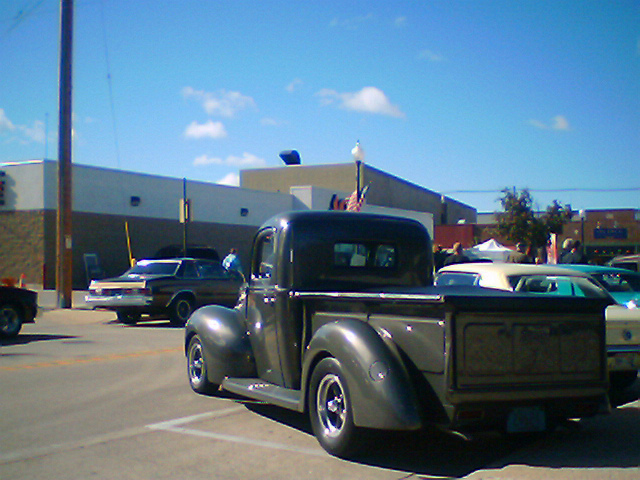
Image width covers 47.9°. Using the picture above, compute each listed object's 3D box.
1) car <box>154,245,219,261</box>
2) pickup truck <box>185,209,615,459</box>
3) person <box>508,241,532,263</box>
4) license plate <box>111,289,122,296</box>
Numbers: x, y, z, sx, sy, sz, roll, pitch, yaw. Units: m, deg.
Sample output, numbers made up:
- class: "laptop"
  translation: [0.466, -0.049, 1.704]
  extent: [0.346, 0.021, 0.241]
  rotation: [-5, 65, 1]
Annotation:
- class: "car"
  translation: [-4.702, 0.453, 25.627]
  extent: [1.659, 0.915, 0.998]
  rotation: [-1, -2, 12]
- class: "pickup truck"
  translation: [0.641, 1.042, 8.428]
  extent: [2.474, 2.139, 4.445]
  rotation: [7, -1, -40]
- class: "person"
  translation: [9.601, 0.503, 34.090]
  extent: [0.630, 1.020, 1.856]
  rotation: [6, 2, -1]
- class: "license plate"
  translation: [-4.889, 1.259, 17.168]
  extent: [0.207, 0.162, 0.141]
  rotation: [0, -9, -2]
